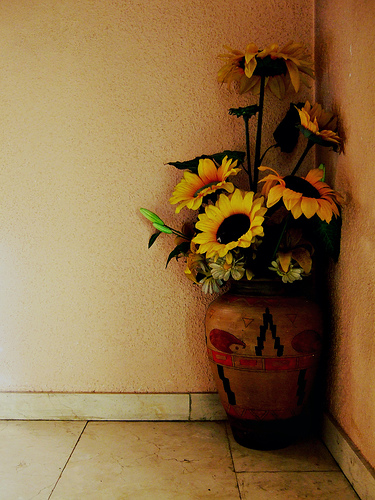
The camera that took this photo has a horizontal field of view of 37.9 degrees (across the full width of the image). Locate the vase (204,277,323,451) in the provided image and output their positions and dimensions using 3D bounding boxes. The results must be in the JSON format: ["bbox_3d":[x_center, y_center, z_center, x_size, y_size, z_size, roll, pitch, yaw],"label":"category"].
[{"bbox_3d":[0.216,0.336,1.589,0.334,0.518,0.186,1,13,11],"label":"vase"}]

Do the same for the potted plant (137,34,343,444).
[{"bbox_3d":[0.198,-0.004,1.685,0.710,1.115,0.615,2,8,24],"label":"potted plant"}]
